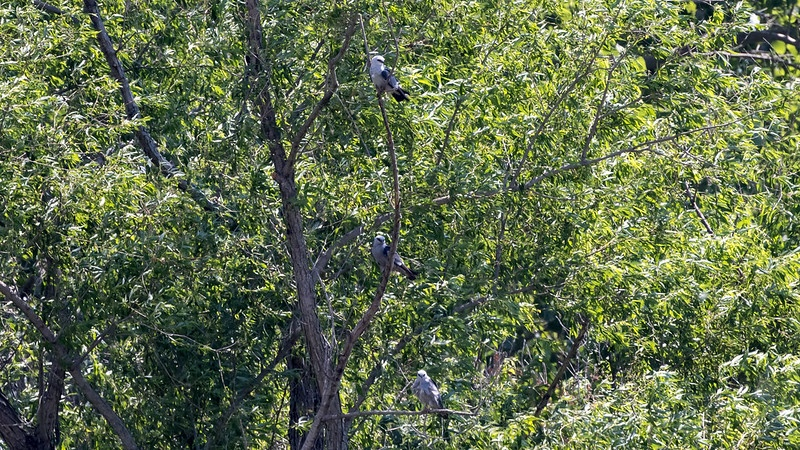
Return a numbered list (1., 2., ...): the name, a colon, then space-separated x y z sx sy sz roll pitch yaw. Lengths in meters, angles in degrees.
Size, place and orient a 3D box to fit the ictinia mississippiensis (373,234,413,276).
1. ictinia mississippiensis: -0.095 0.516 29.321 0.794 0.582 0.433 14 -15 -20
